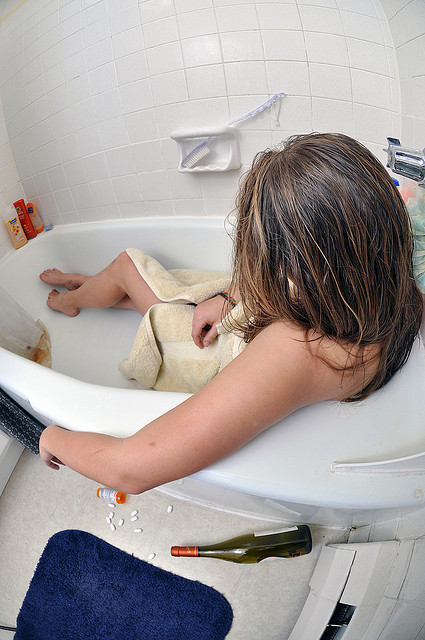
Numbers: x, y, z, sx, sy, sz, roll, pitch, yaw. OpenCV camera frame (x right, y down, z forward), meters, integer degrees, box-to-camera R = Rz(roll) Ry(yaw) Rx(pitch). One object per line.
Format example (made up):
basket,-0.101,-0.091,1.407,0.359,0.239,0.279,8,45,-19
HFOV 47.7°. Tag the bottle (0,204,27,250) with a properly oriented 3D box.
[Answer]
bottle,-0.774,-0.366,1.884,0.064,0.144,0.134,-22,38,-8
